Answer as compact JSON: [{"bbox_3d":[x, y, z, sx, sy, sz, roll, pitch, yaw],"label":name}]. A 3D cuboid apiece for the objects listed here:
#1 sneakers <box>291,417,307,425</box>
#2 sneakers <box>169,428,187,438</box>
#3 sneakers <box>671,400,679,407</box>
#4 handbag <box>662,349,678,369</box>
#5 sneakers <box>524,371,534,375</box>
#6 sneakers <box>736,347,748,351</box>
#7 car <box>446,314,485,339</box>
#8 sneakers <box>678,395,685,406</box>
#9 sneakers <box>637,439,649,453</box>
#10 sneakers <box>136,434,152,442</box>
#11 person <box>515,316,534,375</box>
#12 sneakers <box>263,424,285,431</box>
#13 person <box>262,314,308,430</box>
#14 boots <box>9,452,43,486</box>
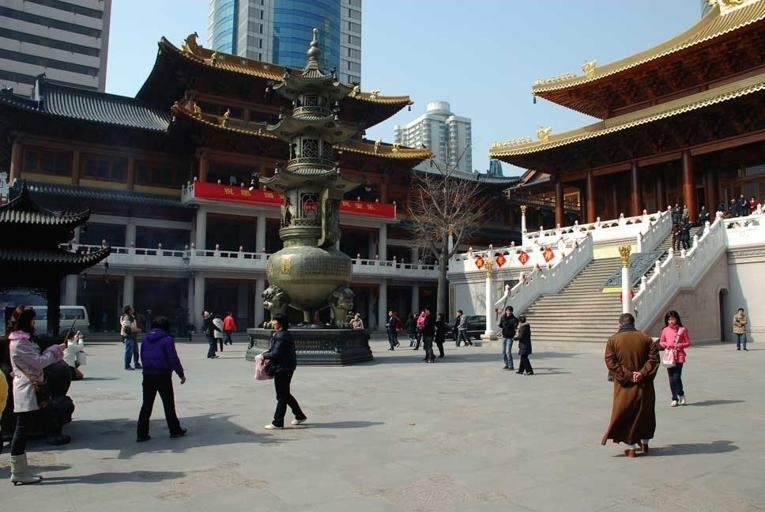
[{"bbox_3d":[-1.865,3.674,16.309,0.360,0.130,0.160,-7,-19,17],"label":"sneakers"},{"bbox_3d":[-4.380,3.808,15.712,0.354,0.151,0.130,-3,-4,-16],"label":"sneakers"},{"bbox_3d":[6.966,3.522,17.472,0.215,0.097,0.251,4,8,30],"label":"sneakers"},{"bbox_3d":[6.825,2.460,17.508,0.293,0.452,0.373,6,10,38],"label":"handbag"},{"bbox_3d":[4.368,3.457,21.707,0.254,0.086,0.337,1,7,8],"label":"sneakers"},{"bbox_3d":[13.277,3.450,26.982,0.468,0.176,0.149,9,-10,2],"label":"sneakers"},{"bbox_3d":[4.104,3.446,35.540,1.845,0.770,0.997,2,-8,-9],"label":"car"},{"bbox_3d":[7.226,3.462,17.587,0.199,0.179,0.186,1,5,-10],"label":"sneakers"},{"bbox_3d":[5.229,3.854,14.770,0.278,0.249,0.203,-2,-6,15],"label":"sneakers"},{"bbox_3d":[-5.034,3.848,15.480,0.294,0.174,0.116,-2,3,-17],"label":"sneakers"},{"bbox_3d":[4.251,2.645,21.873,0.569,1.754,0.853,1,8,10],"label":"person"},{"bbox_3d":[-2.384,3.762,16.123,0.403,0.145,0.143,3,-11,10],"label":"sneakers"},{"bbox_3d":[-2.192,2.559,16.364,0.928,2.411,0.962,-2,8,-9],"label":"person"},{"bbox_3d":[-6.760,4.019,13.879,0.523,0.571,0.354,-4,8,-26],"label":"boots"}]
